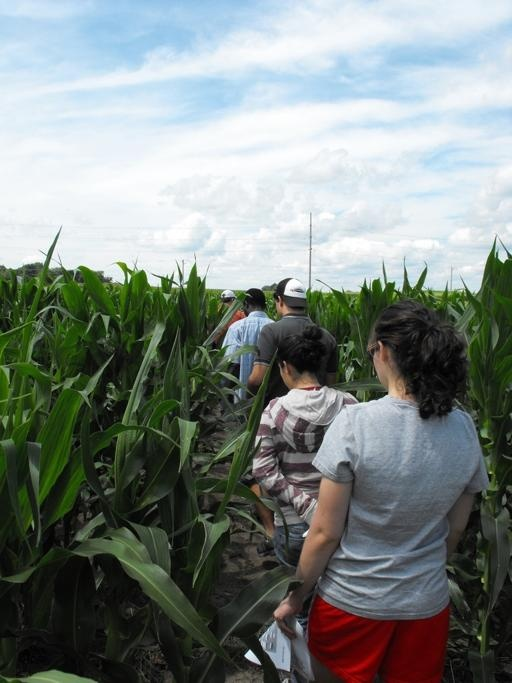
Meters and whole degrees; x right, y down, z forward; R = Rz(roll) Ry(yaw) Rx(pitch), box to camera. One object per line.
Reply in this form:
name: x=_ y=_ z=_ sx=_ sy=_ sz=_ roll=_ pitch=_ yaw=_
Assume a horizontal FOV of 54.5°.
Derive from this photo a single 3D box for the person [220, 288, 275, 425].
person: x=-0.008 y=0.144 z=5.612 sx=0.710 sy=1.555 sz=0.421 roll=-14 pitch=35 yaw=-18
